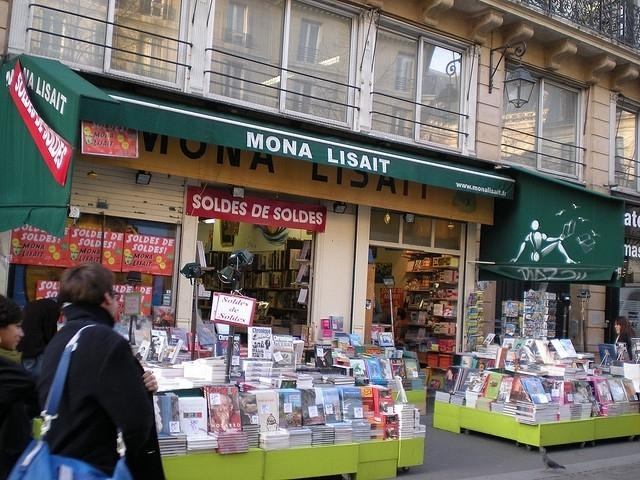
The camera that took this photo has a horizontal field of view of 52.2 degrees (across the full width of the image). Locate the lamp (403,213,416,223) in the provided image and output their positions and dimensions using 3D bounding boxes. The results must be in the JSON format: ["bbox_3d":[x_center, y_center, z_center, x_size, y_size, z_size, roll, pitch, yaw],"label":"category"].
[{"bbox_3d":[1.792,-0.447,13.103,0.191,0.186,0.362,2,-6,16],"label":"lamp"}]

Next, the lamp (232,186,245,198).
[{"bbox_3d":[-1.353,-0.775,10.861,0.251,0.224,0.137,1,-2,-23],"label":"lamp"}]

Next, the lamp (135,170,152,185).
[{"bbox_3d":[-2.737,-0.975,10.105,0.260,0.210,0.097,6,-6,-21],"label":"lamp"}]

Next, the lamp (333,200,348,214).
[{"bbox_3d":[0.377,-0.600,11.964,0.330,0.207,0.093,9,-8,-43],"label":"lamp"}]
